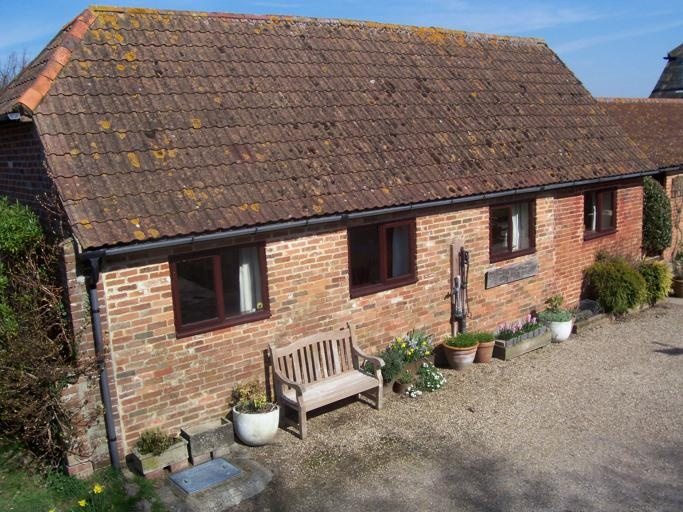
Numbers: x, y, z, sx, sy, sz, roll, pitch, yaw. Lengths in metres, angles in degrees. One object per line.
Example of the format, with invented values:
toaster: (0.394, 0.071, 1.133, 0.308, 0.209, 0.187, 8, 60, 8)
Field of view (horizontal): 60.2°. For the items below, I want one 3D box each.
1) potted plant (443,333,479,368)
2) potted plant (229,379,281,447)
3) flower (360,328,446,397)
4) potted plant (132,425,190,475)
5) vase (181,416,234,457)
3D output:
potted plant: (2.492, 1.928, 12.161, 0.708, 0.598, 0.688, -4, 6, -29)
potted plant: (-1.440, 2.585, 10.052, 0.957, 1.195, 0.940, -1, 4, -8)
flower: (1.163, 1.990, 11.451, 1.358, 0.958, 1.109, -3, 5, -36)
potted plant: (-2.779, 3.016, 9.223, 0.755, 0.660, 0.452, -11, 9, -31)
vase: (-2.175, 2.892, 9.543, 0.822, 0.350, 0.468, -4, 5, -37)
